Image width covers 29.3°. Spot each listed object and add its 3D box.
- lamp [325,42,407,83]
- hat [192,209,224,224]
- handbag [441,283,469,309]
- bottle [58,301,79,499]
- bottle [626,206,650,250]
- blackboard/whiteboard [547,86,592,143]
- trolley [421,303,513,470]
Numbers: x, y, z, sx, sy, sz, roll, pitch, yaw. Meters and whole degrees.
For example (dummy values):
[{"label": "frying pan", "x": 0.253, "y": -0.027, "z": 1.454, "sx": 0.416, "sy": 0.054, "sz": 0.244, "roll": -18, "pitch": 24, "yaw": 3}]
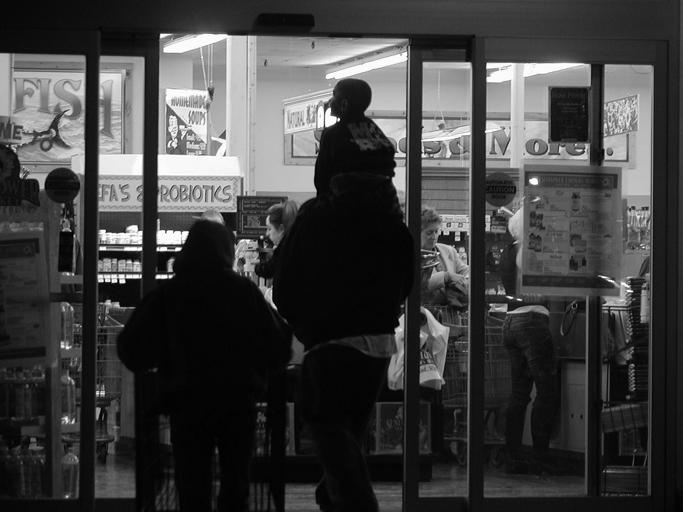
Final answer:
[{"label": "lamp", "x": 0.269, "y": -1.735, "z": 11.887, "sx": 0.763, "sy": 0.061, "sz": 0.117, "roll": -17, "pitch": -19, "yaw": 15}, {"label": "hat", "x": -1.069, "y": -0.314, "z": 10.594, "sx": 0.081, "sy": 0.089, "sz": 0.286, "roll": 21, "pitch": 5, "yaw": -24}, {"label": "handbag", "x": 0.810, "y": 0.303, "z": 9.195, "sx": 0.172, "sy": 0.117, "sz": 0.084, "roll": 15, "pitch": -7, "yaw": -34}, {"label": "bottle", "x": -1.838, "y": 0.971, "z": 8.836, "sx": 0.206, "sy": 1.294, "sz": 0.092, "roll": -1, "pitch": -1, "yaw": 32}, {"label": "bottle", "x": 2.042, "y": -0.181, "z": 8.969, "sx": 0.151, "sy": 0.307, "sz": 0.037, "roll": 0, "pitch": -1, "yaw": 6}, {"label": "blackboard/whiteboard", "x": 1.591, "y": -0.968, "z": 9.076, "sx": 0.295, "sy": 0.415, "sz": 0.024, "roll": 3, "pitch": 22, "yaw": 16}, {"label": "trolley", "x": 0.931, "y": 0.851, "z": 9.250, "sx": 0.513, "sy": 0.959, "sz": 0.923, "roll": 3, "pitch": 5, "yaw": 2}]
